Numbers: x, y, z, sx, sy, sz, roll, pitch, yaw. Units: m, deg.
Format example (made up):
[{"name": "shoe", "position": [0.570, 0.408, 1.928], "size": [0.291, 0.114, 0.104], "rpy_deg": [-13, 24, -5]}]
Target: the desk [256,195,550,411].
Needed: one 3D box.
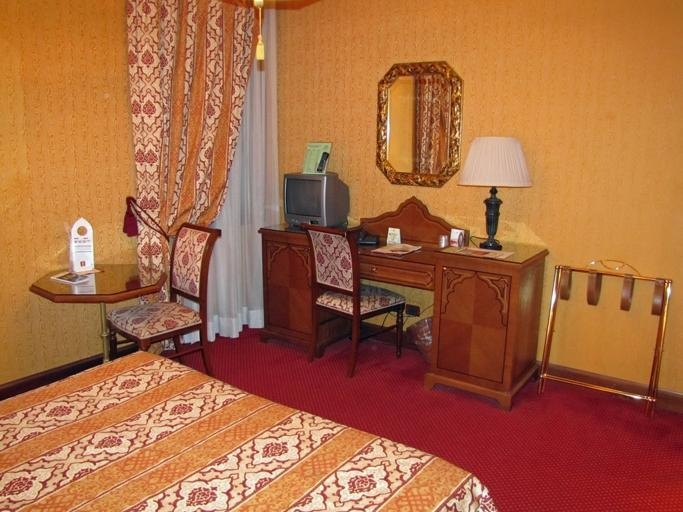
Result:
[{"name": "desk", "position": [0.385, 0.236, 4.128], "size": [2.016, 1.409, 0.709], "rpy_deg": [9, 11, 25]}]

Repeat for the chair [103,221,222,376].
[{"name": "chair", "position": [-1.258, 0.346, 3.663], "size": [0.730, 1.085, 0.662], "rpy_deg": [-4, 11, -30]}]

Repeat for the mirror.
[{"name": "mirror", "position": [0.643, -1.062, 4.109], "size": [0.940, 1.280, 0.060], "rpy_deg": [6, 11, 33]}]

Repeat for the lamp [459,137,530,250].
[{"name": "lamp", "position": [1.110, -0.435, 3.628], "size": [0.505, 0.791, 0.365], "rpy_deg": [-6, 11, -37]}]

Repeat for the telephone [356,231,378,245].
[{"name": "telephone", "position": [0.205, -0.127, 4.083], "size": [0.105, 0.043, 0.121], "rpy_deg": [0, 29, 8]}]

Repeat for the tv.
[{"name": "tv", "position": [-0.200, -0.486, 4.441], "size": [0.461, 0.456, 0.476], "rpy_deg": [8, 14, 35]}]

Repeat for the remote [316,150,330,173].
[{"name": "remote", "position": [-0.160, -0.786, 4.385], "size": [0.066, 0.241, 0.082], "rpy_deg": [13, 1, 31]}]

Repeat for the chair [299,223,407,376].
[{"name": "chair", "position": [0.100, 0.267, 4.046], "size": [0.591, 1.091, 0.677], "rpy_deg": [10, 17, 38]}]
